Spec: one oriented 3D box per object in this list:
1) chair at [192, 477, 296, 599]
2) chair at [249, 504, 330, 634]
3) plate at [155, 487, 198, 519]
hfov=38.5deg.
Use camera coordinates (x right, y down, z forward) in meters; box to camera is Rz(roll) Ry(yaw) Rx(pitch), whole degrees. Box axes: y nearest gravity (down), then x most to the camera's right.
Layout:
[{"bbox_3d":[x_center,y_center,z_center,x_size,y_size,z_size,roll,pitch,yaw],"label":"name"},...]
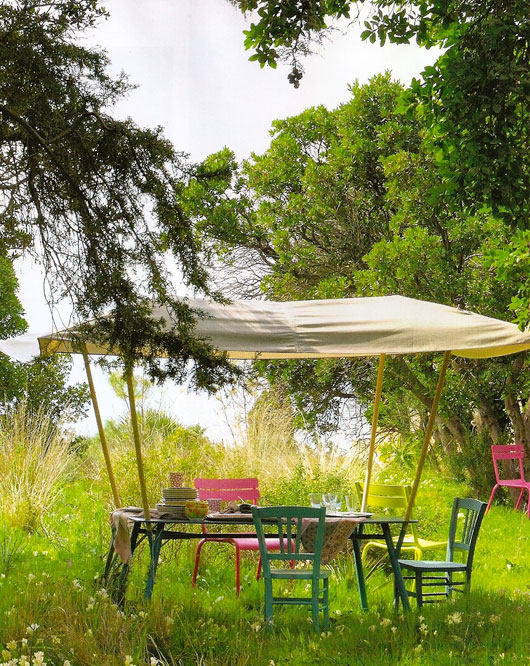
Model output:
[{"bbox_3d":[-0.244,1.426,5.761,0.574,0.863,0.628,11,-32,-29],"label":"chair"},{"bbox_3d":[0.166,1.329,4.603,0.428,0.923,0.518,0,17,6],"label":"chair"},{"bbox_3d":[-0.551,1.050,4.679,0.175,0.117,0.173,5,-7,-35],"label":"plate"}]
